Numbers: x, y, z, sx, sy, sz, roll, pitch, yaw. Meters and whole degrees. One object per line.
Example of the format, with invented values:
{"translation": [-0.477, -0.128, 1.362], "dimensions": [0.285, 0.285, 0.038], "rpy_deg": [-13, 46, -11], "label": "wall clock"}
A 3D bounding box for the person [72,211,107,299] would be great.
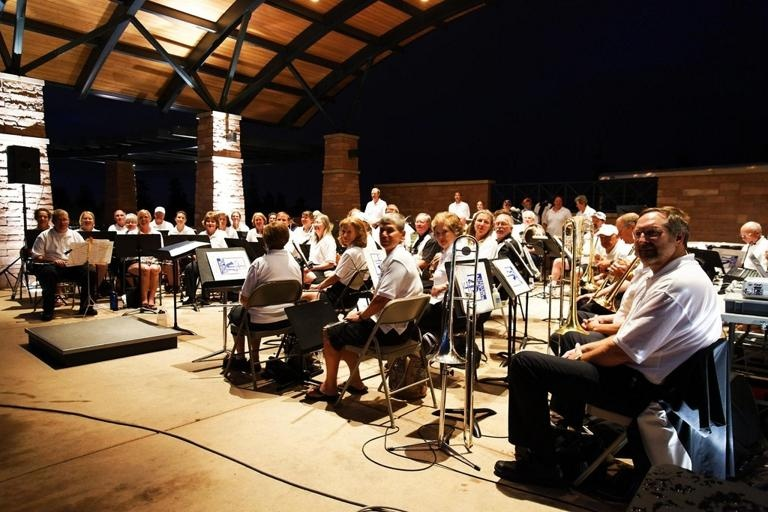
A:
{"translation": [-5.613, -0.312, 10.263], "dimensions": [0.972, 0.900, 0.608], "rpy_deg": [4, -12, -22], "label": "person"}

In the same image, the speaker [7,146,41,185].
{"translation": [-7.195, -1.818, 10.805], "dimensions": [0.533, 0.766, 0.281], "rpy_deg": [-4, 4, -38], "label": "speaker"}

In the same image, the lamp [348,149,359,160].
{"translation": [-1.015, -3.423, 18.190], "dimensions": [0.171, 0.320, 0.465], "rpy_deg": [1, 3, 30], "label": "lamp"}

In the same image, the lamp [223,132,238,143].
{"translation": [-4.351, -3.329, 15.272], "dimensions": [0.376, 0.206, 0.268], "rpy_deg": [-2, 3, 0], "label": "lamp"}

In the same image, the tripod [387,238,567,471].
{"translation": [0.962, 1.100, 6.260], "dimensions": [1.792, 2.495, 1.476], "rpy_deg": [-2, -1, -8], "label": "tripod"}

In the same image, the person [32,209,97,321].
{"translation": [-5.653, 0.219, 9.720], "dimensions": [0.946, 2.017, 1.136], "rpy_deg": [10, 8, 39], "label": "person"}

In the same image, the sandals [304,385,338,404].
{"translation": [-0.757, 1.651, 6.536], "dimensions": [0.346, 0.117, 0.190], "rpy_deg": [3, -2, 10], "label": "sandals"}

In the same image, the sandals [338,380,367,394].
{"translation": [-0.367, 1.574, 6.577], "dimensions": [0.444, 0.114, 0.172], "rpy_deg": [3, -2, 16], "label": "sandals"}

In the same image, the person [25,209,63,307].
{"translation": [-6.585, 0.033, 10.227], "dimensions": [0.583, 1.865, 0.623], "rpy_deg": [7, -6, -30], "label": "person"}
